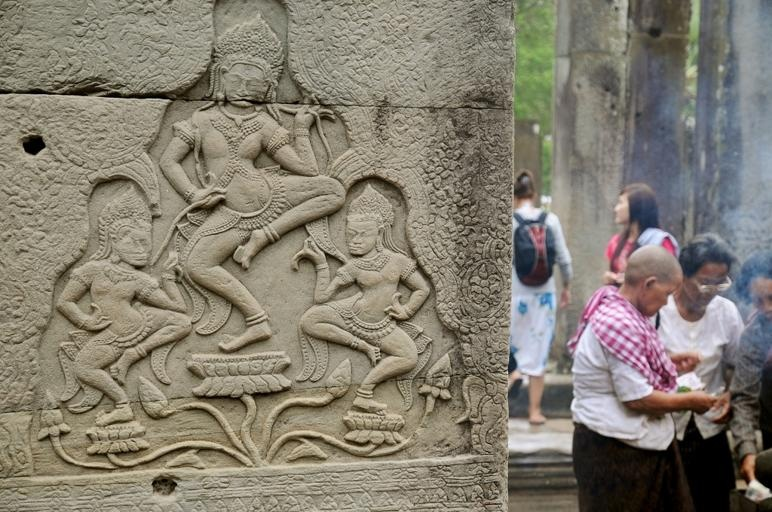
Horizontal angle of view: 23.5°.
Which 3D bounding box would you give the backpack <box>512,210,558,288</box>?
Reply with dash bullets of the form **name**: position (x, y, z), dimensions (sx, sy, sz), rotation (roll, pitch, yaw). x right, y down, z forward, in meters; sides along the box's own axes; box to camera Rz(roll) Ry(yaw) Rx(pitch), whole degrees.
- **backpack**: position (1.129, -0.049, 14.004), dimensions (0.338, 0.543, 0.540), rotation (0, 46, 6)
